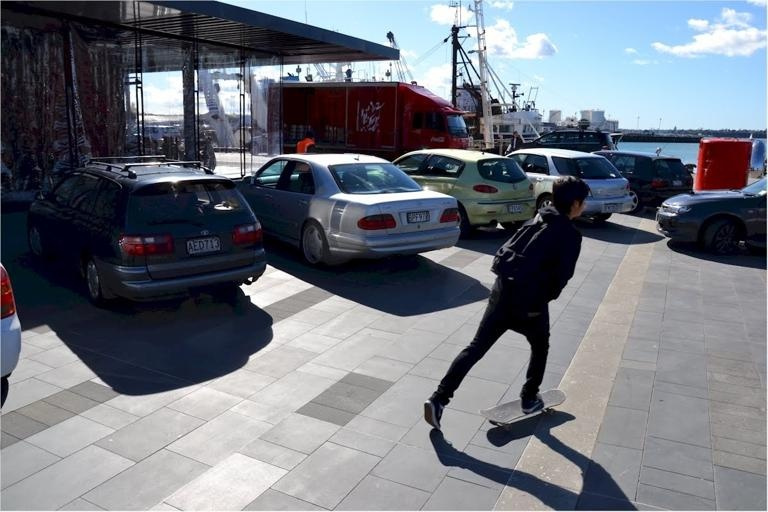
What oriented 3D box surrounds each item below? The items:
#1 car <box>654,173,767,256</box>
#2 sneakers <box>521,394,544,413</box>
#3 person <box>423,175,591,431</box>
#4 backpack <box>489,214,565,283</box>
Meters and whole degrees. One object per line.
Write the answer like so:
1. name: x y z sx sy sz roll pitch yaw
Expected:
1. car: 7.373 -0.812 10.335 2.780 0.973 1.244 -6 20 0
2. sneakers: 1.387 1.375 4.292 0.111 0.106 0.258 9 17 40
3. person: 1.131 0.438 4.066 1.409 2.204 0.462 -3 15 -3
4. backpack: 1.217 -0.109 3.922 0.568 0.579 0.287 -2 15 0
